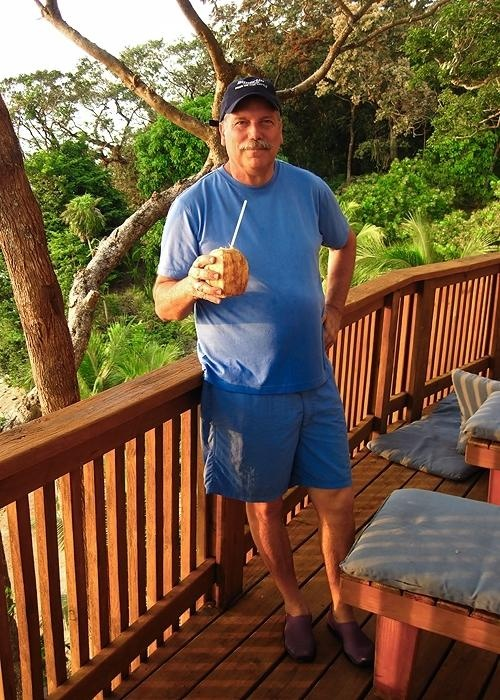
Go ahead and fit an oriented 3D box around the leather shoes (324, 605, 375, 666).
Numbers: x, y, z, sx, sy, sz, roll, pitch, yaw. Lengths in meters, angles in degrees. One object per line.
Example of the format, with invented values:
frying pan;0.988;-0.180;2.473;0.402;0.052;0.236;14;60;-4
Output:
leather shoes;0.340;0.932;1.753;0.102;0.091;0.257;-4;9;-8

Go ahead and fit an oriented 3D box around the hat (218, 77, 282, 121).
hat;-0.001;-0.769;1.630;0.179;0.138;0.164;-3;10;-4
